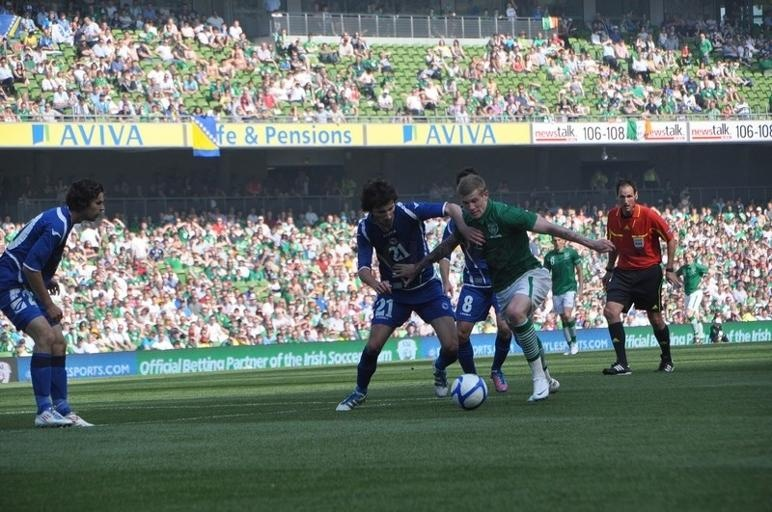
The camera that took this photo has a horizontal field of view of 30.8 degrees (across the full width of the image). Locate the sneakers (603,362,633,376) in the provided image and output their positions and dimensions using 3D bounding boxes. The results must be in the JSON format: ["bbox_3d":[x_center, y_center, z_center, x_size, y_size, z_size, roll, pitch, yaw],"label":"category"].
[{"bbox_3d":[4.615,2.218,28.292,0.614,0.295,0.228,2,-5,-6],"label":"sneakers"}]

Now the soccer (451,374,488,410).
[{"bbox_3d":[1.488,2.413,25.222,0.608,0.607,0.606,-6,-25,5],"label":"soccer"}]
